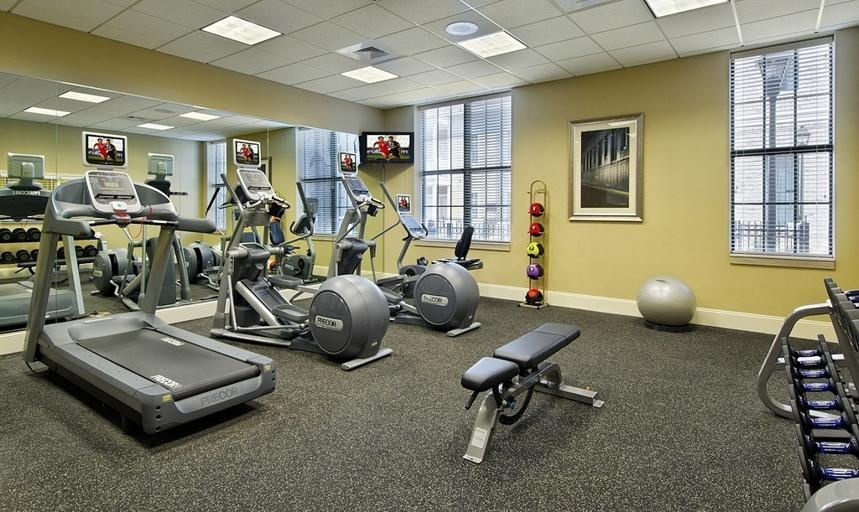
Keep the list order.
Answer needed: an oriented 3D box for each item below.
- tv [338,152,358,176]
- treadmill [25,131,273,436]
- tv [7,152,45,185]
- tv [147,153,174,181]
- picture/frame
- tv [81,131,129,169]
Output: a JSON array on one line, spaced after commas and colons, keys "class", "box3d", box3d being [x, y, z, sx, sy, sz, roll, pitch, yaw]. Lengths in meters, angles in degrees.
[{"class": "tv", "box3d": [-1.277, -1.415, 7.934, 0.235, 0.339, 0.474, 2, 9, 23]}, {"class": "treadmill", "box3d": [-3.058, 0.315, 5.514, 2.910, 2.265, 1.557, 10, 11, 38]}, {"class": "tv", "box3d": [-5.123, -1.104, 6.523, 0.458, 0.425, 0.143, -2, 5, -44]}, {"class": "tv", "box3d": [-3.914, -1.301, 7.481, 0.109, 0.438, 0.426, 12, 12, 43]}, {"class": "picture/frame", "box3d": [2.776, -1.379, 8.189, 1.332, 1.619, 0.132, -4, 9, -11]}, {"class": "tv", "box3d": [-4.367, -1.414, 6.901, 0.594, 0.489, 0.110, 0, -2, -44]}]
